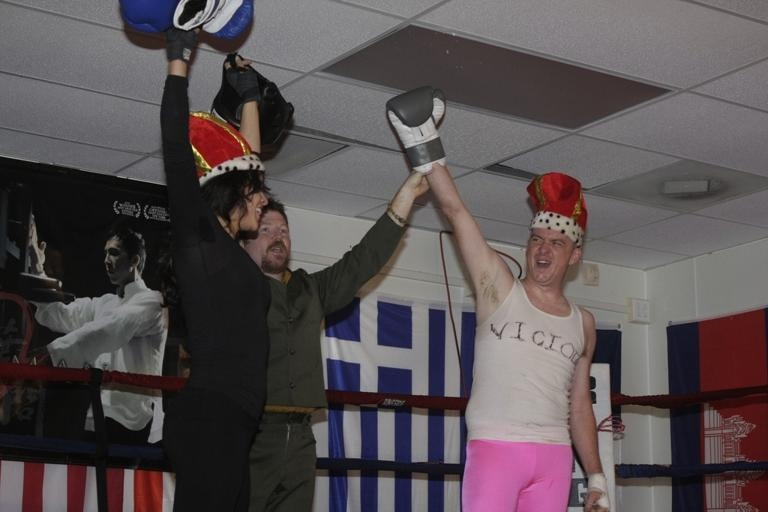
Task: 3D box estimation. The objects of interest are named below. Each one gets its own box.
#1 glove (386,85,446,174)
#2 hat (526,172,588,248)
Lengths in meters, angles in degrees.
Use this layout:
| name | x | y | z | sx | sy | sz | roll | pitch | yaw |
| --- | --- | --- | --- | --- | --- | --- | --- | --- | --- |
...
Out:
| name | x | y | z | sx | sy | sz | roll | pitch | yaw |
| --- | --- | --- | --- | --- | --- | --- | --- | --- | --- |
| glove | 0.190 | -0.715 | 4.688 | 0.343 | 0.486 | 0.194 | -21 | -5 | -11 |
| hat | 1.098 | -0.281 | 5.075 | 0.441 | 0.424 | 0.351 | 9 | -6 | -40 |
